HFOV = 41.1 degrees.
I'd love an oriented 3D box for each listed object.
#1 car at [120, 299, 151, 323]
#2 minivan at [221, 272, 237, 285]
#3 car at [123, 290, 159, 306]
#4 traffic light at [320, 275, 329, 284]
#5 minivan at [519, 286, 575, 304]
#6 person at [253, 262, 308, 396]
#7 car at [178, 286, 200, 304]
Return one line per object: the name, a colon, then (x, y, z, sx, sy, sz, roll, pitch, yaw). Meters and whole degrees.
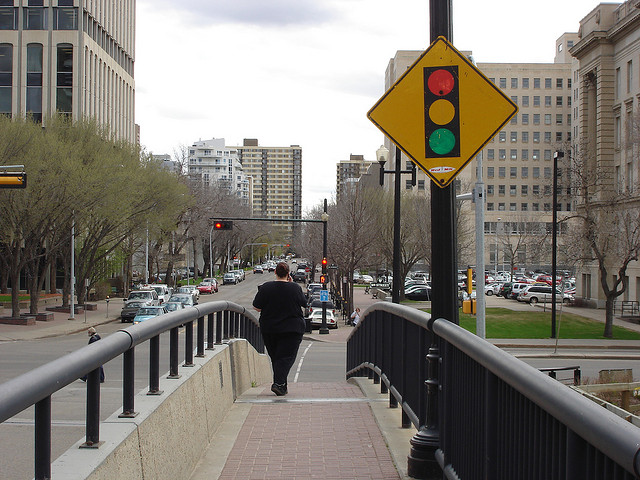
car: (-9.593, 3.620, 43.481, 0.918, 0.934, 1.855, -1, -6, 0)
minivan: (-9.811, 4.237, 91.917, 1.352, 0.998, 2.228, 3, -2, -8)
car: (-9.467, 2.977, 45.986, 0.940, 0.850, 1.622, -1, -11, 2)
traffic light: (0.186, 1.983, 42.215, 0.337, 0.447, 0.369, 0, -3, -2)
minivan: (15.960, 4.256, 61.435, 2.675, 1.079, 1.580, -1, 1, 7)
person: (-0.598, 1.352, 12.798, 0.814, 1.565, 0.657, 2, -1, 10)
car: (-8.789, 3.648, 57.647, 0.983, 0.934, 2.611, -1, -8, -2)
